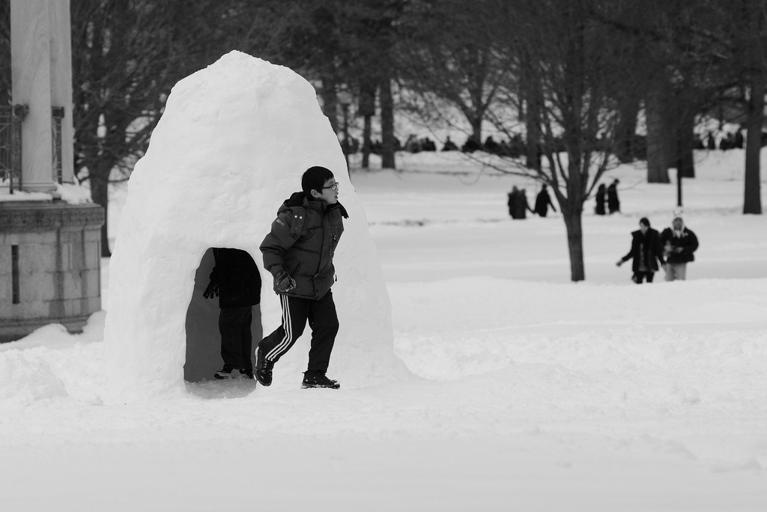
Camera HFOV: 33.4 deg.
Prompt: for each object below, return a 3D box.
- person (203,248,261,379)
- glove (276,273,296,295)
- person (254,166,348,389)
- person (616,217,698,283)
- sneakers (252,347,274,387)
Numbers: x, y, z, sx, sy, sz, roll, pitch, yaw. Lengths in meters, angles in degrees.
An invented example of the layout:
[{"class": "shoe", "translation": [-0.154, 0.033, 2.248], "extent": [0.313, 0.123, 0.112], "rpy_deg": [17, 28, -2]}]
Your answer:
[{"class": "person", "translation": [-1.893, 0.696, 15.887], "extent": [0.681, 1.624, 0.365], "rpy_deg": [-2, 6, -9]}, {"class": "glove", "translation": [-1.066, 0.302, 13.794], "extent": [0.219, 0.232, 0.203], "rpy_deg": [-1, 6, -4]}, {"class": "person", "translation": [-0.909, 0.266, 13.945], "extent": [1.013, 2.459, 0.492], "rpy_deg": [-1, 6, -3]}, {"class": "person", "translation": [4.975, -0.064, 23.156], "extent": [1.330, 1.242, 0.604], "rpy_deg": [-1, 23, 6]}, {"class": "sneakers", "translation": [-1.317, 1.239, 14.219], "extent": [0.194, 0.459, 0.210], "rpy_deg": [-10, 5, -38]}]
